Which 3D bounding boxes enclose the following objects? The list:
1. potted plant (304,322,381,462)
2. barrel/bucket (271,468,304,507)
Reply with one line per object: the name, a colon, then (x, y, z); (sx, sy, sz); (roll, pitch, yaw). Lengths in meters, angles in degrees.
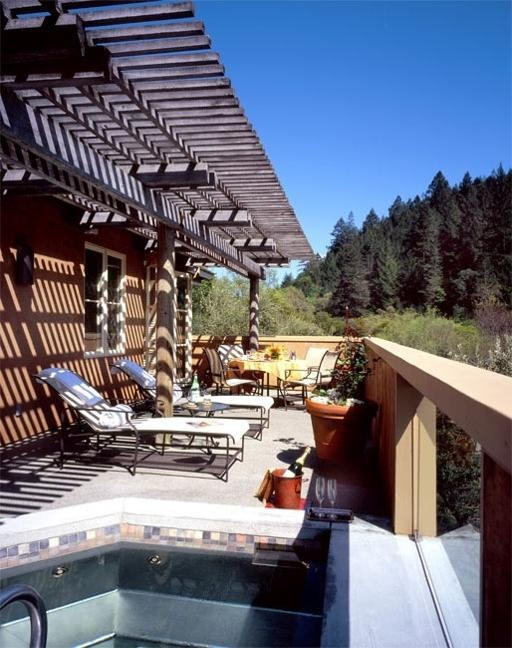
potted plant: (0.821, 0.698, 4.674); (0.679, 1.116, 0.689); (0, 3, -28)
barrel/bucket: (0.217, 1.204, 3.320); (0.214, 0.251, 0.410); (0, 3, 2)
